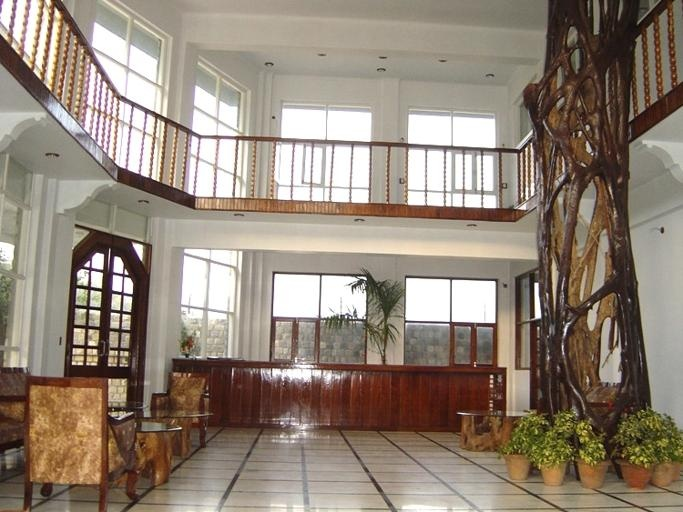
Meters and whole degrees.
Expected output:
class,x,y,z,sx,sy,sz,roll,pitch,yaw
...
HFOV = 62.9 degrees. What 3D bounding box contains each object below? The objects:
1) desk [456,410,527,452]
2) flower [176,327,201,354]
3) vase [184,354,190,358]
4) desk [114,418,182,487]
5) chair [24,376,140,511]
class,x,y,z,sx,sy,sz,roll,pitch,yaw
desk,2.236,2.579,8.353,0.797,0.384,0.878,0,-5,4
flower,-2.975,1.646,10.812,0.379,0.487,0.212,-5,2,-4
vase,-2.883,1.849,10.399,0.058,0.044,0.061,1,-13,-3
desk,-2.050,2.053,5.891,0.934,0.576,0.962,15,-14,-28
chair,-2.305,1.658,5.263,0.967,1.538,1.071,0,-4,1
